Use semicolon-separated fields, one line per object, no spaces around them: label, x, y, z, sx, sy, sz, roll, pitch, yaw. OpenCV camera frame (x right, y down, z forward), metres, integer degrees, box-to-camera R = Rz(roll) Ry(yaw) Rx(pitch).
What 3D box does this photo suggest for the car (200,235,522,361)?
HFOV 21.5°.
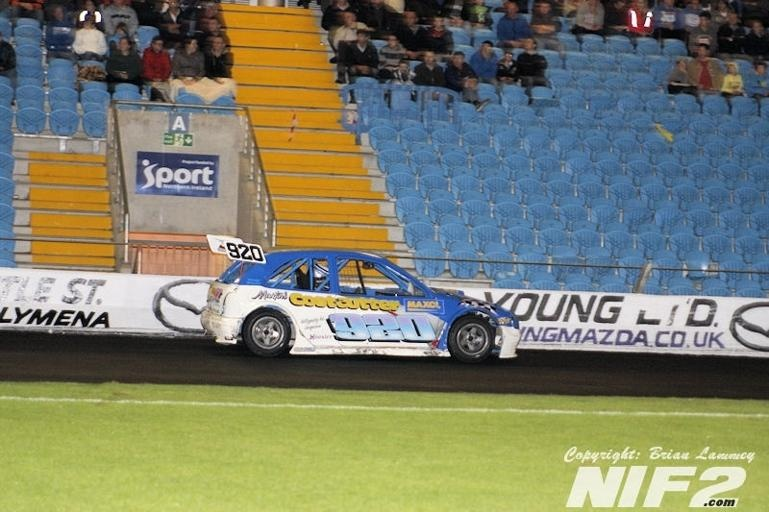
car;-0.555;0.982;46.853;6.623;1.776;2.972;-1;2;-9
